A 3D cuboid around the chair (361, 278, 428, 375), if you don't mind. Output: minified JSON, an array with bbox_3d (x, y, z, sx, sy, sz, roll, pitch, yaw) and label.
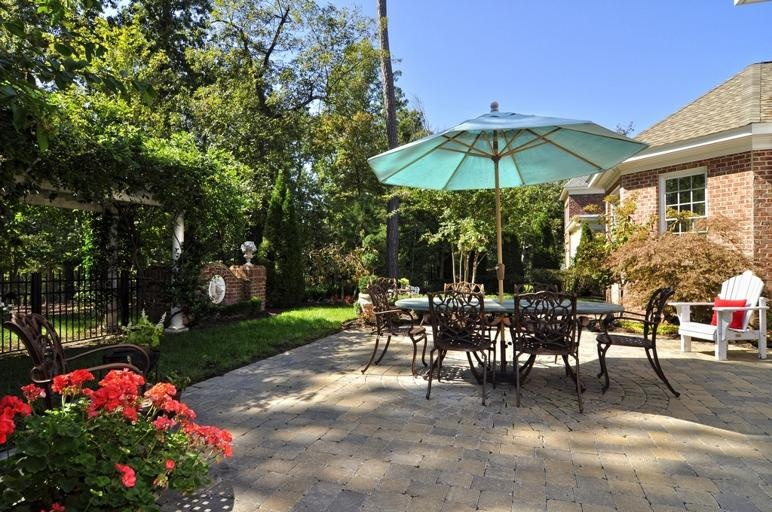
[{"bbox_3d":[0.239,1.178,9.379,1.353,1.924,1.532,-2,-5,18],"label":"chair"}]

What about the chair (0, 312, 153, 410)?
[{"bbox_3d":[-4.049,1.384,7.012,1.460,1.755,1.177,-1,7,-11],"label":"chair"}]

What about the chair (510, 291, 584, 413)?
[{"bbox_3d":[2.261,1.303,7.579,0.960,1.611,1.148,-1,-3,18],"label":"chair"}]

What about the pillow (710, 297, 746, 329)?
[{"bbox_3d":[5.886,0.992,9.223,0.259,0.431,0.490,8,-8,-28],"label":"pillow"}]
